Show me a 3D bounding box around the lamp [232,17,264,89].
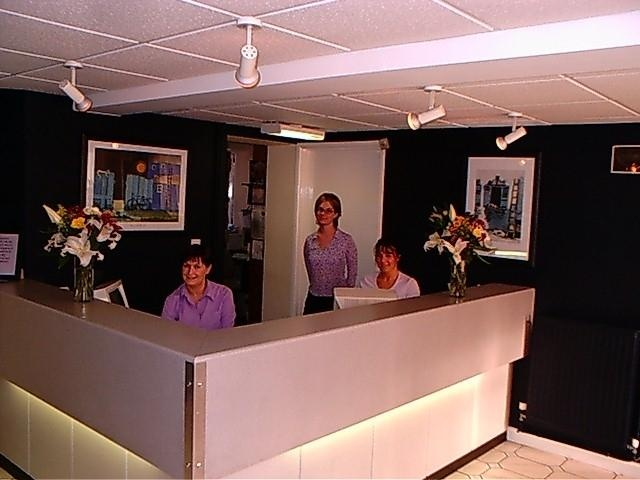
[{"bbox_3d":[-0.395,-1.006,2.729,0.138,0.303,0.497,-1,3,-9],"label":"lamp"}]

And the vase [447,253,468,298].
[{"bbox_3d":[1.159,0.298,4.092,0.134,0.334,0.247,0,3,13],"label":"vase"}]

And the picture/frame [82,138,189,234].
[{"bbox_3d":[-1.969,-0.589,5.126,1.050,0.889,0.051,3,1,-41],"label":"picture/frame"}]

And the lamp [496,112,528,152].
[{"bbox_3d":[1.804,-1.008,4.526,0.262,0.341,0.121,12,21,34],"label":"lamp"}]

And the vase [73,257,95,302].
[{"bbox_3d":[-1.634,0.276,3.383,0.114,0.296,0.119,-2,3,-24],"label":"vase"}]

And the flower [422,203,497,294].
[{"bbox_3d":[1.176,0.086,4.125,0.541,0.752,0.338,1,3,16],"label":"flower"}]

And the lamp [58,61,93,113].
[{"bbox_3d":[-1.823,-1.146,3.643,0.206,0.376,0.267,-15,22,-34],"label":"lamp"}]

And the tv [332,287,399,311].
[{"bbox_3d":[0.363,0.448,3.770,0.503,0.148,0.273,-1,3,-7],"label":"tv"}]

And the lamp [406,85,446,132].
[{"bbox_3d":[0.786,-0.961,3.512,0.276,0.329,0.172,-5,-16,31],"label":"lamp"}]
